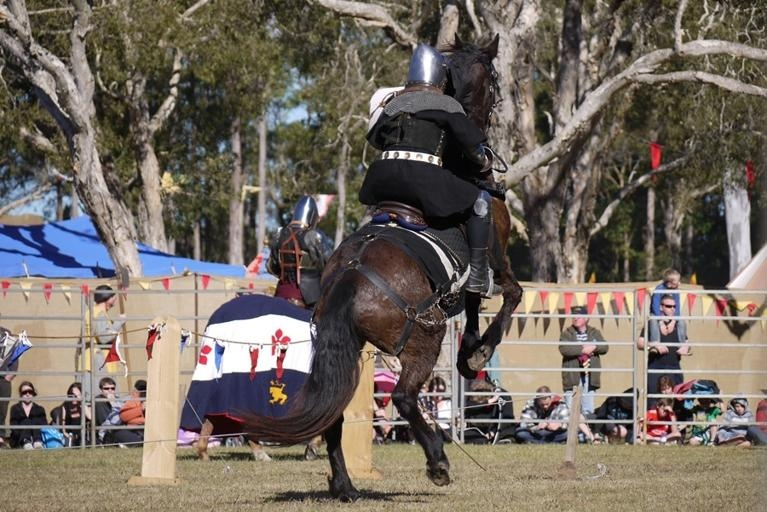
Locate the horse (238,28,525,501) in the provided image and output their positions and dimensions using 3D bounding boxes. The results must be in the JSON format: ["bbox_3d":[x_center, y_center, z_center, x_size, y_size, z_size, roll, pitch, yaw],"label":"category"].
[{"bbox_3d":[0.170,0.203,41.232,5.344,9.158,9.853,0,-2,-7],"label":"horse"}]
